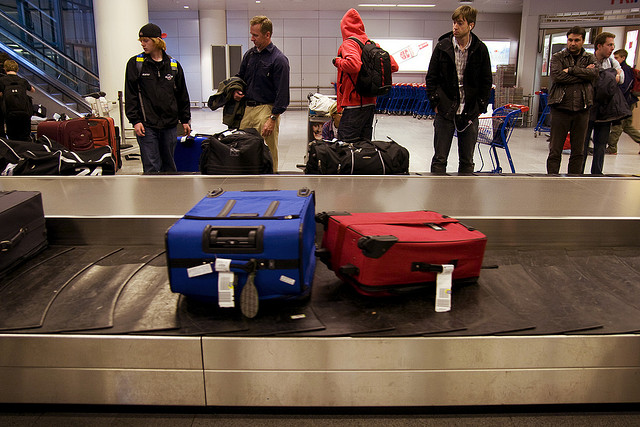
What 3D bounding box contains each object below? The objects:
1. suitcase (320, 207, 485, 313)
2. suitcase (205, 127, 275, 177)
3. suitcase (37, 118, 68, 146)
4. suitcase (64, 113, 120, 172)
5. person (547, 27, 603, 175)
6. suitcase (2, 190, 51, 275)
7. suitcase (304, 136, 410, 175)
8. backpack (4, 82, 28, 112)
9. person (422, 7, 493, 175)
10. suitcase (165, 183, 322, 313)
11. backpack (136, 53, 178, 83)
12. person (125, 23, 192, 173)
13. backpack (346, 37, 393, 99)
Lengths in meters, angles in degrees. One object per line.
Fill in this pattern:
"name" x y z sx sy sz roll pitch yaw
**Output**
"suitcase" 0.401 0.185 2.448 0.689 0.353 0.508 -2 14 -12
"suitcase" -0.657 -0.512 3.951 0.479 0.284 0.459 3 14 -10
"suitcase" -3.485 -1.057 6.254 0.337 0.299 0.359 -8 18 -36
"suitcase" -3.110 -0.975 6.637 0.644 0.844 0.484 -6 23 -13
"person" 2.648 -1.162 5.063 0.514 1.480 0.398 4 15 2
"suitcase" -1.723 0.097 2.692 0.170 0.383 0.375 4 15 1
"suitcase" 0.298 -0.455 3.816 0.583 0.211 0.383 -2 20 -8
"backpack" -3.934 -1.491 6.215 0.247 0.363 0.196 -7 18 -35
"person" 1.231 -1.070 4.340 0.580 1.463 0.371 7 15 12
"suitcase" -0.350 0.166 2.627 0.673 0.468 0.841 1 14 3
"backpack" -1.563 -1.433 4.661 0.377 0.324 0.268 0 20 -9
"person" -1.606 -1.104 4.794 0.600 1.445 0.772 0 15 -15
"backpack" 0.480 -1.396 4.582 0.369 0.523 0.527 -14 30 -18
